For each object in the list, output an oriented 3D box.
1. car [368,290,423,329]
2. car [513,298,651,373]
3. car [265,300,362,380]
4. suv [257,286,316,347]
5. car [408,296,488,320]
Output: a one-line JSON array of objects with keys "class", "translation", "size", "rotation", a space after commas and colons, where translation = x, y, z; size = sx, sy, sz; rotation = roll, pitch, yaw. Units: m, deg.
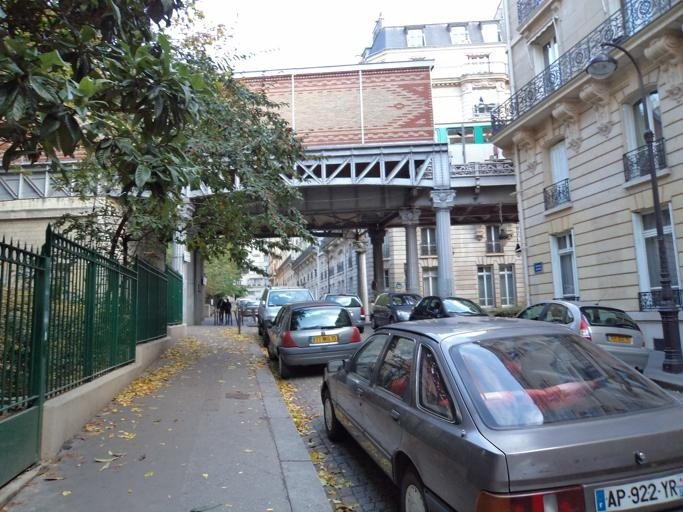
[{"class": "car", "translation": [1.737, 2.174, 21.960], "size": [1.213, 0.997, 2.229], "rotation": [1, -9, -20]}, {"class": "car", "translation": [4.572, 1.468, 11.870], "size": [1.805, 1.374, 3.238], "rotation": [1, 0, -12]}, {"class": "car", "translation": [-0.971, 1.673, 11.791], "size": [1.123, 0.876, 2.284], "rotation": [-4, 3, -16]}, {"class": "suv", "translation": [-2.283, 1.704, 18.038], "size": [1.426, 1.150, 2.449], "rotation": [0, -10, -10]}, {"class": "car", "translation": [2.981, 1.698, 17.627], "size": [1.573, 1.117, 2.702], "rotation": [3, -12, -16]}]
